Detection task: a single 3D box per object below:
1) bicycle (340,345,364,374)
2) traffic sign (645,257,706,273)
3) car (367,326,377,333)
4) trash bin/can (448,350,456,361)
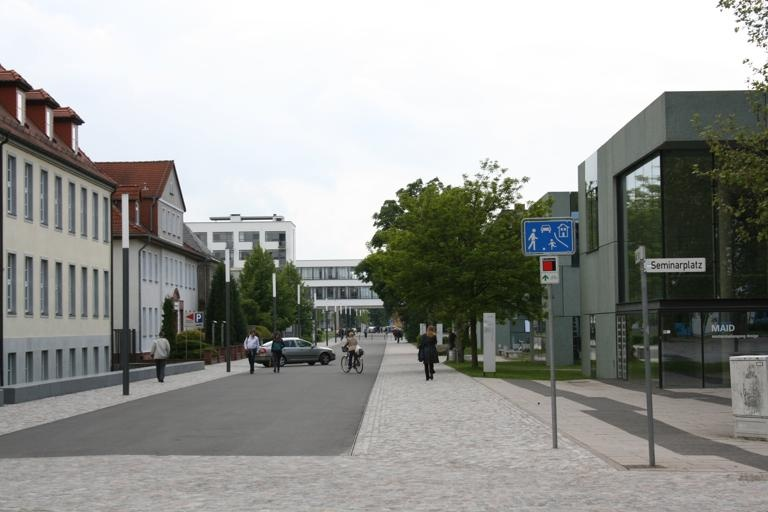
[{"bbox_3d":[-1.664,5.402,43.840,0.813,1.037,1.687,2,-9,-28],"label":"bicycle"},{"bbox_3d":[5.465,0.173,16.203,1.618,0.289,0.281,4,-10,-31],"label":"traffic sign"},{"bbox_3d":[-2.694,16.529,193.583,1.657,1.030,2.577,0,-4,0],"label":"car"},{"bbox_3d":[4.561,6.693,57.770,0.464,0.860,0.882,1,-5,-10],"label":"trash bin/can"}]
